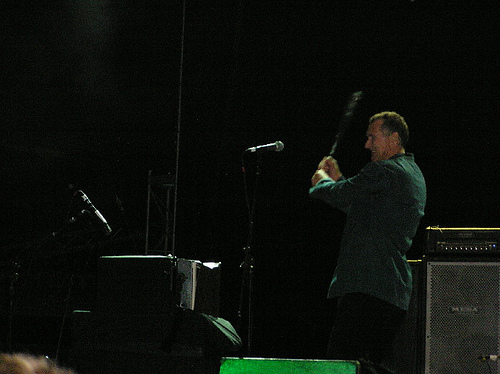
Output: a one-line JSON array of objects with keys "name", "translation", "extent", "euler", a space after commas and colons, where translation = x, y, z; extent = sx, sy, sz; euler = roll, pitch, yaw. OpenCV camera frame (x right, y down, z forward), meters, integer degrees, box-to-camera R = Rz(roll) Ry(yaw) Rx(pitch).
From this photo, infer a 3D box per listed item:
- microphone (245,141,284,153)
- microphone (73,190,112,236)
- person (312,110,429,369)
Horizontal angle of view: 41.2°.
[{"name": "microphone", "translation": [0.111, -0.303, 5.251], "extent": [0.304, 0.083, 0.095], "euler": [-6, -3, 26]}, {"name": "microphone", "translation": [-1.796, 0.314, 7.517], "extent": [0.192, 0.535, 0.108], "euler": [-34, 13, -9]}, {"name": "person", "translation": [0.802, 0.318, 4.565], "extent": [0.737, 1.757, 0.420], "euler": [3, -9, 13]}]
